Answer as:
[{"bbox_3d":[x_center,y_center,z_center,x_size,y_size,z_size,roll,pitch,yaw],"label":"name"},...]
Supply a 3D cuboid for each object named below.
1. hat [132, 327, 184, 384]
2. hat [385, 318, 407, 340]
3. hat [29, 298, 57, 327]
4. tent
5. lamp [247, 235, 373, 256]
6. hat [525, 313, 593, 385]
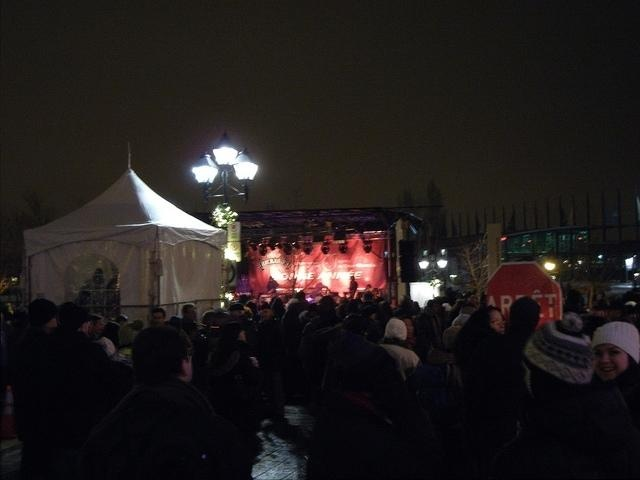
[{"bbox_3d":[-1.118,0.794,5.150,0.374,0.384,0.187,2,-5,-13],"label":"hat"},{"bbox_3d":[0.771,0.884,7.468,0.190,0.191,0.235,2,8,10],"label":"hat"},{"bbox_3d":[-2.708,0.710,7.269,0.217,0.249,0.269,-2,12,13],"label":"hat"},{"bbox_3d":[-3.679,0.270,14.583,3.795,3.459,3.722,-1,-2,11],"label":"tent"},{"bbox_3d":[-0.486,0.186,29.975,5.209,0.827,1.232,0,-4,12],"label":"lamp"},{"bbox_3d":[1.874,0.846,5.766,0.442,0.302,0.487,28,5,9],"label":"hat"}]
